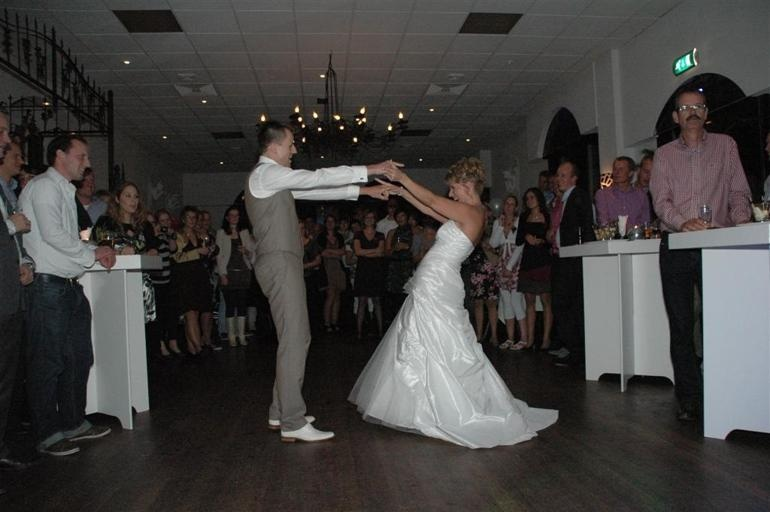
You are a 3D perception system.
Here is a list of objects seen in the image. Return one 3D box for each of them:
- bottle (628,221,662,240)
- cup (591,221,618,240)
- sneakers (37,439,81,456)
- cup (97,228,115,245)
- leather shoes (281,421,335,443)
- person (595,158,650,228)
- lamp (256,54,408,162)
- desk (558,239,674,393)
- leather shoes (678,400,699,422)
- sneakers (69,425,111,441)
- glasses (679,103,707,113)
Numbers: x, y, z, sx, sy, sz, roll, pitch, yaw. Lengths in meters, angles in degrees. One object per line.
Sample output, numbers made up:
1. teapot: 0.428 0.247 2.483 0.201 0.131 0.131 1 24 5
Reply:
1. bottle: 2.504 -0.236 5.553 0.209 0.214 0.189 2 -10 4
2. cup: 2.193 -0.252 5.745 0.233 0.160 0.217 -2 5 0
3. sneakers: -2.493 1.458 4.376 0.302 0.096 0.116 -1 -4 9
4. cup: -2.384 -0.164 4.953 0.131 0.139 0.239 5 0 -29
5. leather shoes: -0.595 1.392 4.524 0.442 0.195 0.154 0 -7 -3
6. person: 2.643 -0.748 6.426 0.568 0.784 1.158 1 5 24
7. lamp: -0.758 -2.994 9.751 2.404 1.766 2.497 2 -1 1
8. desk: 2.467 0.548 6.002 1.257 1.539 1.302 0 -14 -1
9. leather shoes: 2.443 1.252 4.625 0.141 0.148 0.146 2 -9 -26
10. sneakers: -2.388 1.433 4.640 0.275 0.108 0.104 0 3 -21
11. glasses: 2.467 -1.200 4.605 0.096 0.029 0.103 1 -3 15
